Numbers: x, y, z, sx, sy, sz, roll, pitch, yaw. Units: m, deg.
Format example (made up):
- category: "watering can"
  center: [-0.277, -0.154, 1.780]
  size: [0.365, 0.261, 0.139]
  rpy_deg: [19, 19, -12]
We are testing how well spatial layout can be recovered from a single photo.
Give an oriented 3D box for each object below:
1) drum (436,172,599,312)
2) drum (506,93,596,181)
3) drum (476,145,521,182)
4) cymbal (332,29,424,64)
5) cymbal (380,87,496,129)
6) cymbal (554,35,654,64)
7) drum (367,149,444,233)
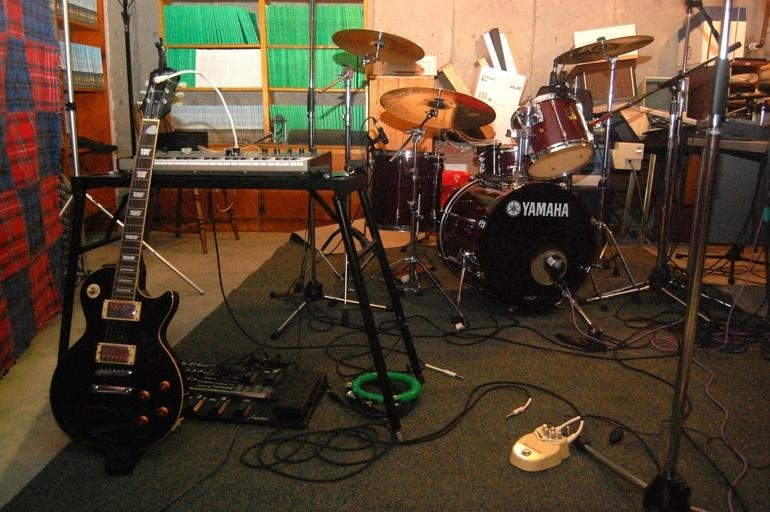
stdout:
- category: "drum"
  center: [0.817, -0.082, 3.867]
  size: [0.948, 0.922, 1.040]
  rpy_deg: [-1, 12, -7]
- category: "drum"
  center: [0.978, -0.755, 3.719]
  size: [0.569, 0.440, 0.564]
  rpy_deg: [-17, 10, 3]
- category: "drum"
  center: [0.747, -0.634, 3.997]
  size: [0.304, 0.212, 0.242]
  rpy_deg: [11, 16, 38]
- category: "cymbal"
  center: [-0.028, -1.328, 3.771]
  size: [0.454, 0.113, 0.448]
  rpy_deg: [3, -10, 36]
- category: "cymbal"
  center: [0.369, -0.990, 3.974]
  size: [0.502, 0.109, 0.494]
  rpy_deg: [1, -16, 33]
- category: "cymbal"
  center: [1.522, -1.446, 4.118]
  size: [0.501, 0.097, 0.491]
  rpy_deg: [-9, 6, 19]
- category: "drum"
  center: [0.070, -0.469, 4.382]
  size: [0.605, 0.558, 0.580]
  rpy_deg: [1, 4, -6]
